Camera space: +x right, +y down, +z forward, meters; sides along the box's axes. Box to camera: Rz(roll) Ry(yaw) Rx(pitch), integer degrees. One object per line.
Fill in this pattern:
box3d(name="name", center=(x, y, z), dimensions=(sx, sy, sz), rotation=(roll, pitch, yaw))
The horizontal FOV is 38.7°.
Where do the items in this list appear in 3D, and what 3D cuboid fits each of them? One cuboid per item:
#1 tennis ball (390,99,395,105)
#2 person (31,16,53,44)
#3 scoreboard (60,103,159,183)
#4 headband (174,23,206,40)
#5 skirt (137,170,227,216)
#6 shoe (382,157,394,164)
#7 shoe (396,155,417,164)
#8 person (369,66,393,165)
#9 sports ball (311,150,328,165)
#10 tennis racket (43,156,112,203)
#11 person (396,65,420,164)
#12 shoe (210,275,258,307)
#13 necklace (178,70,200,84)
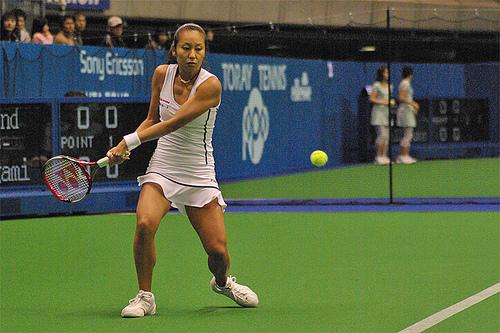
box3d(name="tennis ball", center=(2.407, -1.094, 12.062), dimensions=(0.041, 0.097, 0.135), rotation=(7, 16, 29))
box3d(name="person", center=(-3.917, -2.574, 13.440), dimensions=(0.366, 0.489, 1.315), rotation=(-5, 14, -15))
box3d(name="scoreboard", center=(-2.422, -0.450, 11.864), dimensions=(0.094, 1.381, 1.972), rotation=(2, 4, 42))
box3d(name="headband", center=(-0.691, -1.512, 7.944), dimensions=(0.324, 0.154, 0.368), rotation=(-4, 14, -15))
box3d(name="skirt", center=(-0.754, 0.243, 7.880), dimensions=(0.919, 0.411, 0.179), rotation=(-1, 14, -2))
box3d(name="shoe", center=(2.360, -0.107, 12.090), dimensions=(0.122, 0.098, 0.176), rotation=(-7, 15, -24))
box3d(name="shoe", center=(2.668, -0.116, 12.142), dimensions=(0.329, 0.220, 0.123), rotation=(-2, 2, 6))
box3d(name="person", center=(2.243, -0.886, 12.136), dimensions=(0.396, 1.651, 0.520), rotation=(0, 14, 4))
box3d(name="sports ball", center=(1.182, -0.160, 12.162), dimensions=(0.233, 0.222, 0.226), rotation=(7, -23, 3))
box3d(name="tennis racket", center=(-1.946, 0.125, 7.963), dimensions=(0.772, 0.526, 0.272), rotation=(3, 15, 16))
box3d(name="person", center=(2.697, -0.891, 12.106), dimensions=(0.445, 1.673, 0.398), rotation=(-2, 14, -4))
box3d(name="shoe", center=(-0.125, 1.445, 8.150), dimensions=(0.654, 0.233, 0.276), rotation=(22, -14, 1))
box3d(name="necklace", center=(-0.657, -0.991, 7.825), dimensions=(0.116, 0.130, 0.032), rotation=(-2, -20, 11))
